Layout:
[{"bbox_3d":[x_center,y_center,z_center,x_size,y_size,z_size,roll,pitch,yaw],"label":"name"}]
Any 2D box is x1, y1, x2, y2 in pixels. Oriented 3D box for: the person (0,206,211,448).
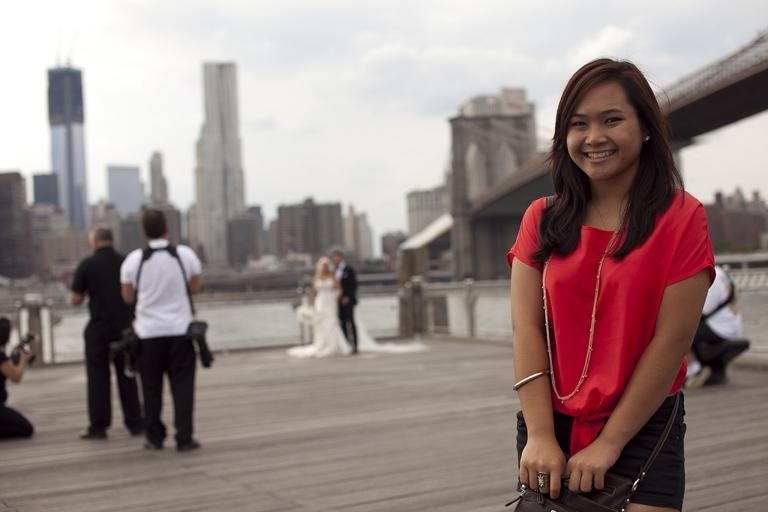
[{"bbox_3d":[-1.484,0.447,5.841,0.732,1.511,0.572,5,0,28],"label":"person"}]
